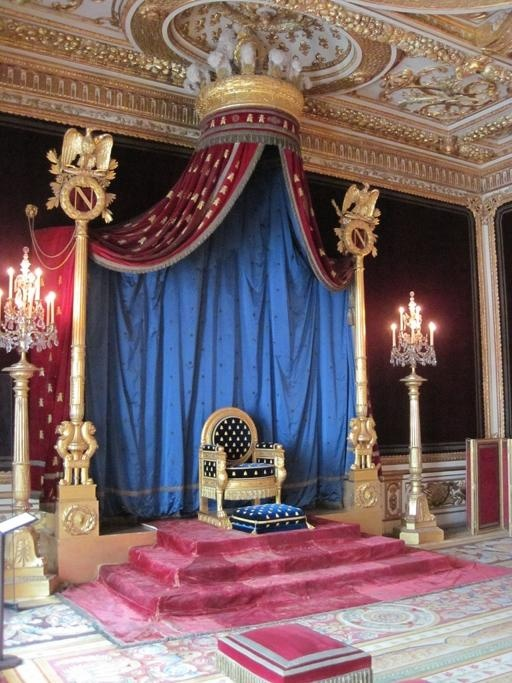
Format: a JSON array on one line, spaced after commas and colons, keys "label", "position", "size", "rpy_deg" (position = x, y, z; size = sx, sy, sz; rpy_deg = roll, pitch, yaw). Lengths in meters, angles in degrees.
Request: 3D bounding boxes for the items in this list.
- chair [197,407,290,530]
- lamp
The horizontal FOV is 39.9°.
[{"label": "chair", "position": [-0.104, 0.907, 5.266], "size": [0.613, 0.788, 0.506], "rpy_deg": [2, -5, -38]}, {"label": "lamp", "position": [-0.056, -2.113, 5.305], "size": [0.946, 0.491, 0.776], "rpy_deg": [1, -3, -6]}]
